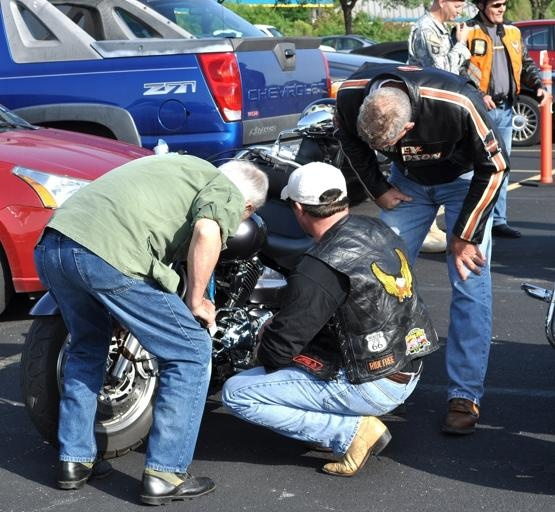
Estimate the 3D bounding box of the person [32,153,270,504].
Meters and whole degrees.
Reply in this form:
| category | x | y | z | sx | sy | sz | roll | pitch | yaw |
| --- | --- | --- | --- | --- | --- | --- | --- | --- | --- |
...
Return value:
| category | x | y | z | sx | sy | sz | roll | pitch | yaw |
| --- | --- | --- | --- | --- | --- | --- | --- | --- | --- |
| person | -0.562 | 0.326 | 2.609 | 1.017 | 1.410 | 0.650 | -15 | 26 | -20 |

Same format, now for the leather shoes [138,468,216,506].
| category | x | y | z | sx | sy | sz | roll | pitch | yaw |
| --- | --- | --- | --- | --- | --- | --- | --- | --- | --- |
| leather shoes | -0.442 | 0.956 | 2.672 | 0.380 | 0.138 | 0.130 | 0 | 4 | -33 |

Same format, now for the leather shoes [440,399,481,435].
| category | x | y | z | sx | sy | sz | roll | pitch | yaw |
| --- | --- | --- | --- | --- | --- | --- | --- | --- | --- |
| leather shoes | 0.901 | 0.812 | 3.083 | 0.110 | 0.101 | 0.289 | -2 | -7 | 22 |

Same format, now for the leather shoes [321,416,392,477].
| category | x | y | z | sx | sy | sz | roll | pitch | yaw |
| --- | --- | --- | --- | --- | --- | --- | --- | --- | --- |
| leather shoes | 0.358 | 0.875 | 2.836 | 0.342 | 0.159 | 0.112 | -34 | 21 | -4 |

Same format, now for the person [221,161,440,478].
| category | x | y | z | sx | sy | sz | roll | pitch | yaw |
| --- | --- | --- | --- | --- | --- | --- | --- | --- | --- |
| person | 0.340 | 0.300 | 3.034 | 1.261 | 1.307 | 0.957 | -3 | 4 | 13 |

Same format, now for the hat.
| category | x | y | z | sx | sy | sz | roll | pitch | yaw |
| --- | --- | --- | --- | --- | --- | --- | --- | --- | --- |
| hat | 0.158 | -0.327 | 2.753 | 0.209 | 0.125 | 0.257 | -12 | 21 | -30 |
